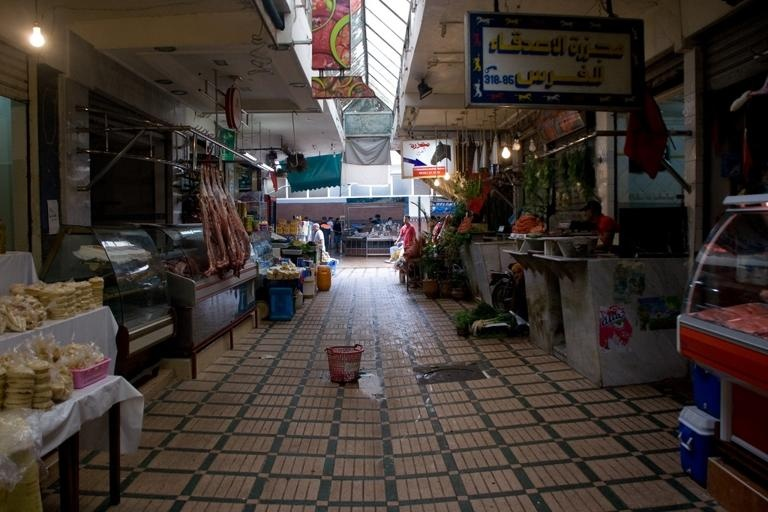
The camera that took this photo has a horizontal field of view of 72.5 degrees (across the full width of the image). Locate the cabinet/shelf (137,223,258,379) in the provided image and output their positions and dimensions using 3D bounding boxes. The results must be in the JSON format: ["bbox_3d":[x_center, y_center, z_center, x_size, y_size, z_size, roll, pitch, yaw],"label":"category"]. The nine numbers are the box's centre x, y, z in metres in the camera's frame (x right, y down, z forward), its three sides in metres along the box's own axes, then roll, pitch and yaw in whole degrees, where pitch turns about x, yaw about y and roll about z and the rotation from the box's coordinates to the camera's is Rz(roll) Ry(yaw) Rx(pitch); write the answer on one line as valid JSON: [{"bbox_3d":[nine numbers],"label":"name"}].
[{"bbox_3d":[-2.510,0.607,6.918,0.529,1.109,2.020,-1,3,-1],"label":"cabinet/shelf"}]

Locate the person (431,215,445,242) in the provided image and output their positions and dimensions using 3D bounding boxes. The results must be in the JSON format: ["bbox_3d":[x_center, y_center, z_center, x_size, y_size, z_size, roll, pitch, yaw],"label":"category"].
[{"bbox_3d":[1.329,-0.655,12.955,0.177,0.759,0.244,9,-26,39],"label":"person"}]

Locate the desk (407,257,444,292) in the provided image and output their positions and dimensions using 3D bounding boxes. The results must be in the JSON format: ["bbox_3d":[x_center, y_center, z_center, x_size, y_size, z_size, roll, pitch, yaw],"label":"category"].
[{"bbox_3d":[0.975,0.376,12.244,0.707,0.740,1.174,0,3,1],"label":"desk"}]

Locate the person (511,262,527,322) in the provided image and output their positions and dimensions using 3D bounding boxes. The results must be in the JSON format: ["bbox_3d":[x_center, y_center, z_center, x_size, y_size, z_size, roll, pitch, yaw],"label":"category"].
[{"bbox_3d":[2.313,0.589,8.960,0.252,0.920,0.333,0,5,10],"label":"person"}]

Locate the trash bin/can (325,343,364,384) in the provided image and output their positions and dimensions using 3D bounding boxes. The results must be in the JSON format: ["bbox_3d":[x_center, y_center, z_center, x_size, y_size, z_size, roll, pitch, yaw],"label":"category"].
[{"bbox_3d":[-0.519,1.329,6.723,0.476,0.387,0.456,1,0,-44],"label":"trash bin/can"}]

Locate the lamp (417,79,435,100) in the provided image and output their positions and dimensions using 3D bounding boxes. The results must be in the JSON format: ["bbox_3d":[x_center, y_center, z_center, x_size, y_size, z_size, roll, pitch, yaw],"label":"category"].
[{"bbox_3d":[0.838,-3.386,10.676,0.285,0.302,0.277,-27,-5,8],"label":"lamp"}]

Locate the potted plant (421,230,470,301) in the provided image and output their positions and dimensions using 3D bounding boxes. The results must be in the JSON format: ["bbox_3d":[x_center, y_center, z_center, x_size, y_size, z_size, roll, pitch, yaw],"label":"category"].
[{"bbox_3d":[1.417,0.164,12.053,1.400,1.748,1.341,-1,-1,-6],"label":"potted plant"}]

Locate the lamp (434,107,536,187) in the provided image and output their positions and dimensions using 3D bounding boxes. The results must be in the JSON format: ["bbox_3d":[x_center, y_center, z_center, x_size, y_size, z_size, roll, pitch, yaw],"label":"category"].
[{"bbox_3d":[2.303,-2.533,11.925,2.259,0.997,1.424,-7,1,-17],"label":"lamp"}]
